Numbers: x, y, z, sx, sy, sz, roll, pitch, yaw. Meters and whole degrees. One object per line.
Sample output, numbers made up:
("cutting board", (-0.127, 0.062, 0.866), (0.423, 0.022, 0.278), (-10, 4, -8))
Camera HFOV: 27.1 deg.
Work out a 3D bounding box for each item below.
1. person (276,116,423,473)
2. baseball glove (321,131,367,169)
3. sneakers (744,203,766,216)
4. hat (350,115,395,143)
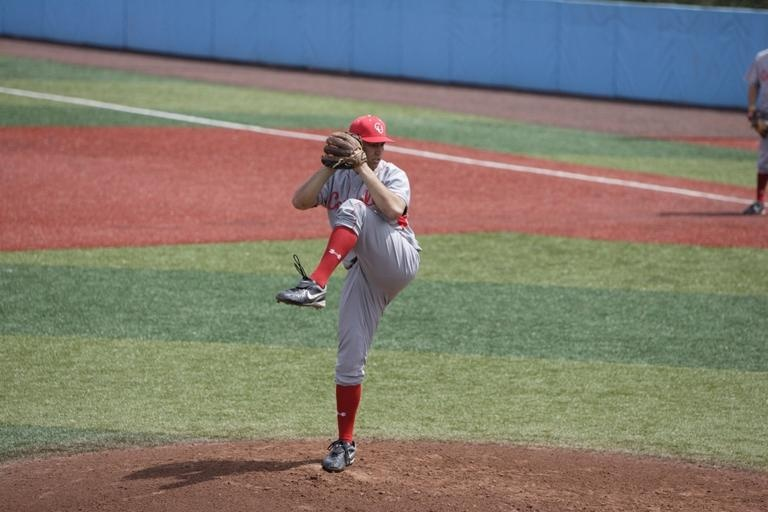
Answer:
("person", (-0.301, 0.353, 15.249), (1.217, 3.383, 0.603), (5, 4, -4))
("baseball glove", (-0.408, -0.973, 15.161), (0.387, 0.284, 0.339), (-23, -23, 22))
("sneakers", (4.438, -0.562, 18.904), (0.276, 0.118, 0.098), (-1, -6, 15))
("hat", (-0.160, -1.220, 15.298), (0.366, 0.168, 0.260), (11, 11, 39))
